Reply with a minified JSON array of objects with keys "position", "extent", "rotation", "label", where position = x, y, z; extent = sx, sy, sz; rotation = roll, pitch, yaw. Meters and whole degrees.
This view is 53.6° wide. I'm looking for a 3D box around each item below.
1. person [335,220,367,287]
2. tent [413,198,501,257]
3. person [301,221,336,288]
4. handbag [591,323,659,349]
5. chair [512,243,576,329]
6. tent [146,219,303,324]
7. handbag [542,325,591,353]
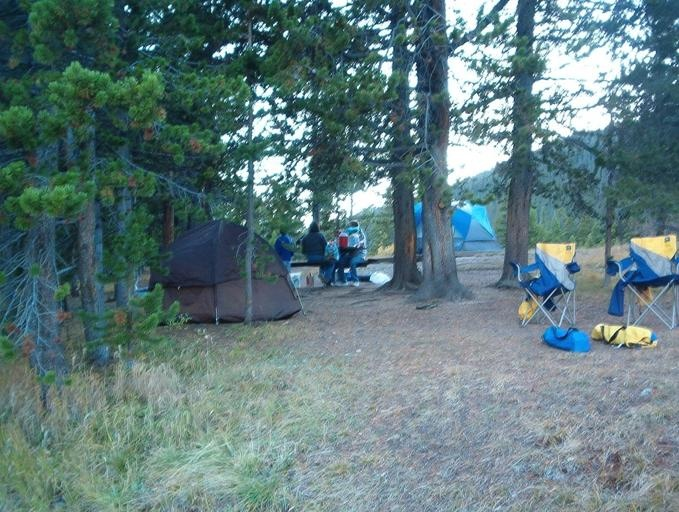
[{"position":[0.345,-0.040,18.097],"extent":[0.773,1.631,1.330],"rotation":[-5,-2,-11],"label":"person"},{"position":[4.788,-1.492,28.080],"extent":[3.191,1.872,3.345],"rotation":[6,10,-24],"label":"tent"},{"position":[-0.501,-0.028,17.187],"extent":[0.794,1.477,1.889],"rotation":[-5,-2,0],"label":"person"},{"position":[3.886,1.089,9.183],"extent":[0.829,0.340,0.404],"rotation":[-8,-3,29],"label":"handbag"},{"position":[3.202,0.465,10.330],"extent":[0.957,1.513,1.026],"rotation":[-2,-1,8],"label":"chair"},{"position":[-2.198,0.230,12.201],"extent":[2.075,1.309,1.656],"rotation":[2,2,25],"label":"tent"},{"position":[3.112,1.129,9.147],"extent":[0.300,0.236,0.494],"rotation":[-3,6,-30],"label":"handbag"}]
